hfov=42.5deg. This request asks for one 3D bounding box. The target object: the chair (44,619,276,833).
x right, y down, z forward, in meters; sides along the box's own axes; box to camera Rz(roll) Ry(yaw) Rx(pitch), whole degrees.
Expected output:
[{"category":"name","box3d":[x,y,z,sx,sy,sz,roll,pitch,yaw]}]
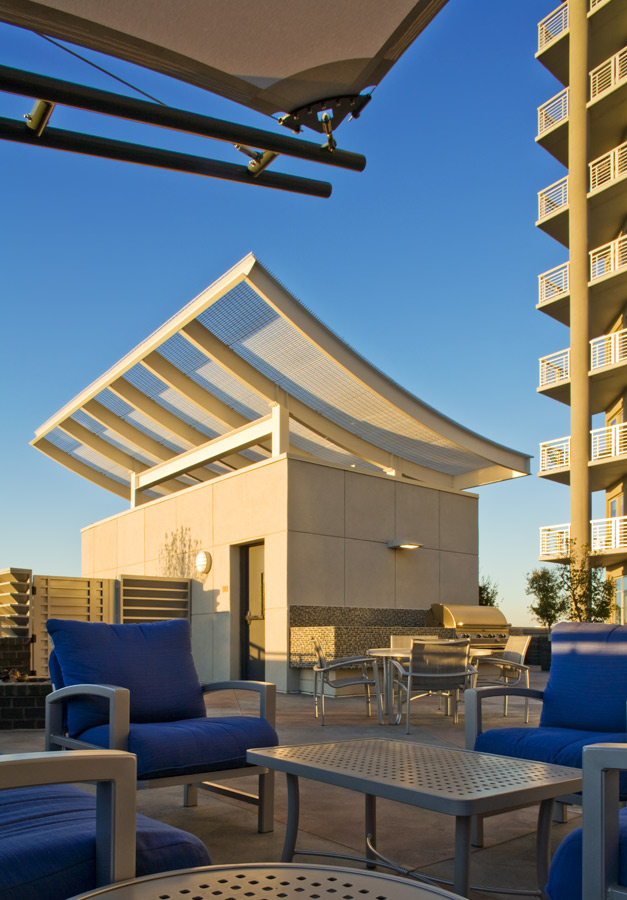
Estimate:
[{"category":"chair","box3d":[-0.685,1.215,3.576,0.964,0.897,0.923,-6,-12,34]}]

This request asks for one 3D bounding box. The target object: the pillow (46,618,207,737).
[{"category":"pillow","box3d":[-0.871,1.063,3.828,0.289,0.521,0.792,-22,-23,38]}]

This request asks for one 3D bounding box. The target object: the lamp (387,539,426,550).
[{"category":"lamp","box3d":[1.776,1.772,14.905,0.445,0.180,0.984,-5,-8,31]}]

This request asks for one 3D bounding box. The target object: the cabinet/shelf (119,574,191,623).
[{"category":"cabinet/shelf","box3d":[-2.854,2.684,14.778,0.377,0.807,1.551,-5,-9,32]}]
